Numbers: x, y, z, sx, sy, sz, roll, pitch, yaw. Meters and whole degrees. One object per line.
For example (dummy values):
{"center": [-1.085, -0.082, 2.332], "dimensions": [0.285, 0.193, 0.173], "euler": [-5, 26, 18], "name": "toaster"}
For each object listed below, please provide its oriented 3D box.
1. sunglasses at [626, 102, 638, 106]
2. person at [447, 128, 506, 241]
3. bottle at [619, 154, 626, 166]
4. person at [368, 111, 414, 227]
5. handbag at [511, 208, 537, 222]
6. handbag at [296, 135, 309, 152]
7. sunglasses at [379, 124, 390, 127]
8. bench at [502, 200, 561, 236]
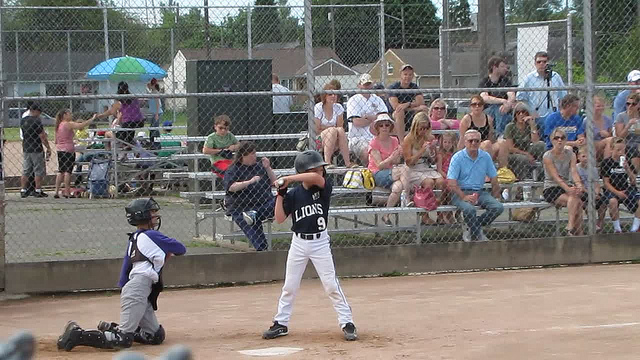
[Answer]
{"center": [6.733, -1.674, 23.607], "dimensions": [0.194, 0.073, 0.051], "euler": [-1, 4, 12], "name": "sunglasses"}
{"center": [3.215, 0.078, 22.683], "dimensions": [1.108, 2.271, 0.441], "euler": [-3, 4, -9], "name": "person"}
{"center": [6.342, -0.452, 22.964], "dimensions": [0.109, 0.241, 0.135], "euler": [-2, 4, 6], "name": "bottle"}
{"center": [1.462, -0.444, 22.872], "dimensions": [0.939, 1.933, 0.567], "euler": [-1, 4, 19], "name": "person"}
{"center": [4.328, 0.723, 23.388], "dimensions": [0.444, 0.362, 0.292], "euler": [6, -2, -2], "name": "handbag"}
{"center": [-0.348, -0.806, 23.029], "dimensions": [0.132, 0.212, 0.343], "euler": [21, 29, 7], "name": "handbag"}
{"center": [1.357, -1.169, 22.888], "dimensions": [0.197, 0.054, 0.030], "euler": [-2, 4, 1], "name": "sunglasses"}
{"center": [4.448, 0.595, 23.161], "dimensions": [1.369, 0.563, 0.763], "euler": [0, 8, 3], "name": "bench"}
